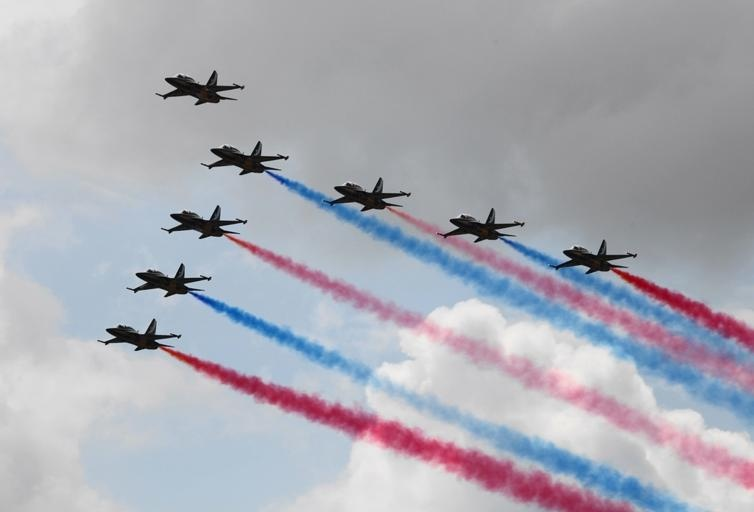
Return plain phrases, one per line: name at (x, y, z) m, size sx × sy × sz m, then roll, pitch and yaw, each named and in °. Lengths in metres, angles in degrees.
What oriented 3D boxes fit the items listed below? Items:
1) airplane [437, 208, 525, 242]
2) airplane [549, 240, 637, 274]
airplane at (10.781, -3.215, 149.759) m, size 5.478 × 2.714 × 6.076 m, roll 23°, pitch -38°, yaw -35°
airplane at (23.314, 0.292, 153.683) m, size 11.565 × 4.972 × 3.723 m, roll 0°, pitch -94°, yaw 11°
